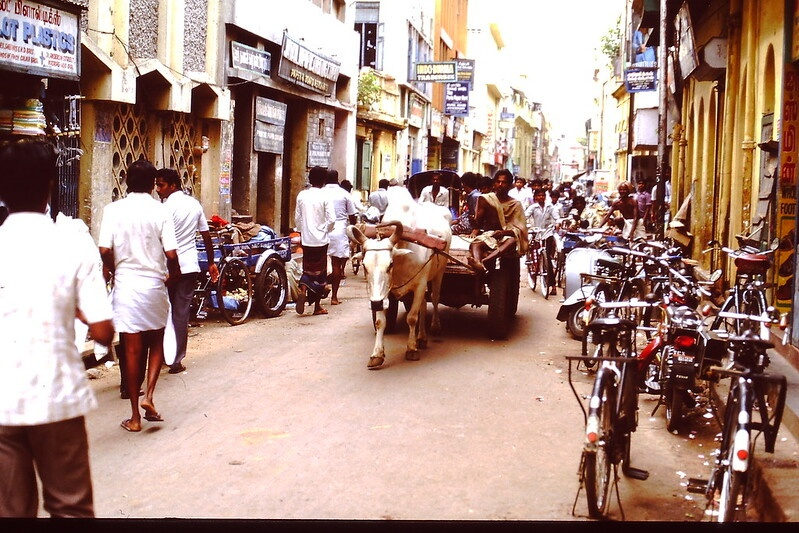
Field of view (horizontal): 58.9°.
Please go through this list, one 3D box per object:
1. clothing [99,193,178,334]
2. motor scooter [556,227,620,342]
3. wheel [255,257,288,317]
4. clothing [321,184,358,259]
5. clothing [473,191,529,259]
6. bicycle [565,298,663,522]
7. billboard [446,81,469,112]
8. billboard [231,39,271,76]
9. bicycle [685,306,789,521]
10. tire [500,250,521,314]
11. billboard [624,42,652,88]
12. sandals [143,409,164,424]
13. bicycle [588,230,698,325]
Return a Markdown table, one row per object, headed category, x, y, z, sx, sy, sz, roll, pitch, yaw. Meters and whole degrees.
| category | x | y | z | sx | sy | sz | roll | pitch | yaw |
| --- | --- | --- | --- | --- | --- | --- | --- | --- | --- |
| clothing | -2.500 | 0.085 | 6.707 | 0.630 | 1.987 | 0.628 | -2 | 18 | -33 |
| motor scooter | 2.587 | 0.151 | 10.183 | 1.007 | 1.304 | 2.168 | 1 | 7 | 10 |
| wheel | -2.060 | 0.339 | 11.132 | 0.215 | 0.968 | 0.941 | -3 | -10 | 18 |
| clothing | -1.042 | -0.687 | 12.627 | 0.685 | 1.667 | 0.609 | 4 | 4 | 34 |
| clothing | 1.239 | -0.502 | 9.800 | 0.990 | 1.062 | 0.734 | 0 | 0 | 1 |
| bicycle | 1.676 | 0.974 | 5.604 | 0.622 | 1.333 | 2.457 | 3 | 9 | 18 |
| billboard | 2.936 | -8.786 | 36.275 | 1.360 | 1.911 | 0.193 | -1 | 33 | 3 |
| billboard | -3.652 | -5.031 | 17.308 | 0.140 | 0.645 | 1.793 | -22 | 36 | -36 |
| bicycle | 2.513 | 0.995 | 5.200 | 0.635 | 1.196 | 2.309 | 5 | 11 | 23 |
| tire | 1.590 | 0.161 | 9.952 | 0.205 | 0.738 | 0.726 | 0 | -17 | 15 |
| billboard | 7.354 | -6.139 | 21.571 | 0.958 | 1.829 | 0.159 | 0 | 43 | 15 |
| sandals | -2.246 | 1.355 | 6.464 | 0.204 | 0.085 | 0.057 | 8 | 13 | 22 |
| bicycle | 2.872 | 0.165 | 7.972 | 1.037 | 0.942 | 1.435 | -6 | 7 | -41 |
